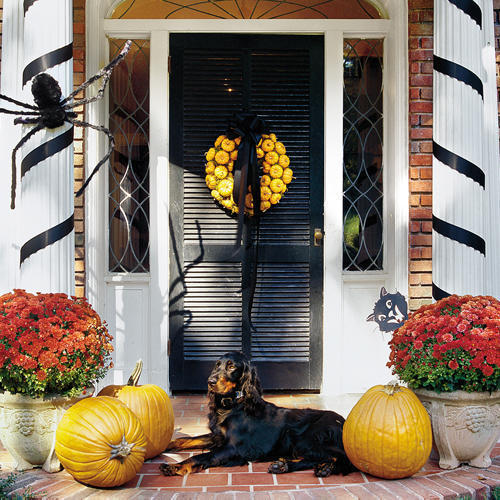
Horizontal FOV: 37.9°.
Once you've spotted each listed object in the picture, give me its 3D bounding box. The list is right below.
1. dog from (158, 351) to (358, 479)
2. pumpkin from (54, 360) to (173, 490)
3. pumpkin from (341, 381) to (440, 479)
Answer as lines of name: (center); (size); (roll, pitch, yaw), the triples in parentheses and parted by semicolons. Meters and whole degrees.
dog: (0.068, 0.861, 3.834); (1.054, 0.610, 0.501); (2, -9, -12)
pumpkin: (-0.677, 0.861, 3.597); (0.321, 0.237, 0.545); (-16, 15, -17)
pumpkin: (0.651, 0.843, 3.664); (0.419, 0.465, 0.440); (1, 2, -9)
